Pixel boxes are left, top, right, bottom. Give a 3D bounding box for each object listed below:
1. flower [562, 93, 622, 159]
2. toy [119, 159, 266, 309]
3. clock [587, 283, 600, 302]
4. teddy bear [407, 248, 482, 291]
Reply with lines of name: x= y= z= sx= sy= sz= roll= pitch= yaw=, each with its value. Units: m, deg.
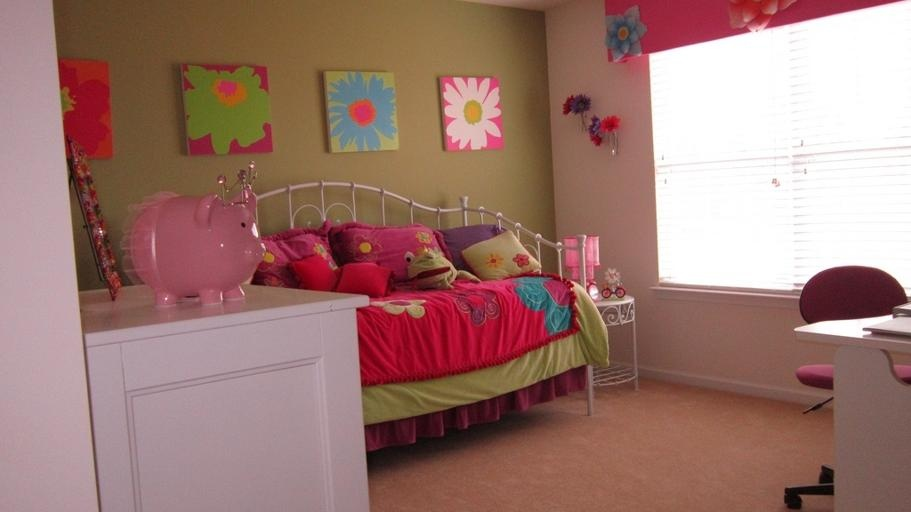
flower: x=1.185 y=-1.155 z=5.125 sx=0.278 sy=0.455 sz=0.567 roll=-20 pitch=29 yaw=-17
toy: x=-0.935 y=-0.058 z=2.162 sx=0.516 sy=0.450 sz=0.350 roll=-1 pitch=8 yaw=4
clock: x=1.066 y=0.283 z=4.629 sx=0.047 sy=0.140 sz=0.144 roll=-12 pitch=-3 yaw=26
teddy bear: x=-0.104 y=0.093 z=4.214 sx=0.396 sy=0.208 sz=0.291 roll=0 pitch=3 yaw=-45
